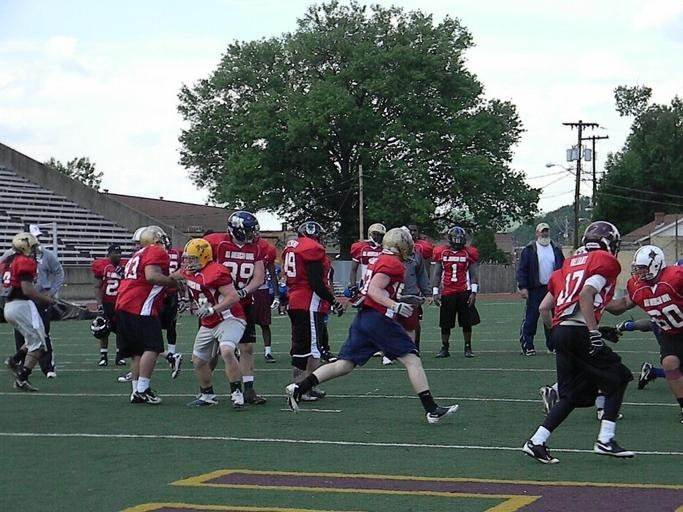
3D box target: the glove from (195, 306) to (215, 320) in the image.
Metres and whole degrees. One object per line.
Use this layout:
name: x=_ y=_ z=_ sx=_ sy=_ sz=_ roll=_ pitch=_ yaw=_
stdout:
glove: x=-1.504 y=0.643 z=10.677 sx=0.203 sy=0.165 sz=0.190 roll=-1 pitch=-3 yaw=-5

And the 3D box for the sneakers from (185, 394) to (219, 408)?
sneakers: x=-1.612 y=1.729 z=11.143 sx=0.364 sy=0.135 sz=0.121 roll=1 pitch=-1 yaw=-3

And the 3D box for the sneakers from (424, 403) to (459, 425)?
sneakers: x=1.063 y=1.653 z=9.858 sx=0.311 sy=0.206 sz=0.416 roll=-2 pitch=-3 yaw=6

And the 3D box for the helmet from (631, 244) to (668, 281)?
helmet: x=3.289 y=0.061 z=9.974 sx=0.444 sy=0.348 sz=0.302 roll=-3 pitch=8 yaw=-5

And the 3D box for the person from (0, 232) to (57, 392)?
person: x=-4.217 y=0.744 z=12.768 sx=0.603 sy=2.121 sz=0.918 roll=0 pitch=-4 yaw=-19

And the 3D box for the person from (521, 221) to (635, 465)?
person: x=2.171 y=0.754 z=8.691 sx=0.943 sy=2.174 sz=0.936 roll=-2 pitch=-3 yaw=7

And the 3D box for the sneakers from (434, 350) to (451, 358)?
sneakers: x=1.727 y=1.655 z=15.759 sx=0.101 sy=0.109 sz=0.286 roll=-10 pitch=-13 yaw=36

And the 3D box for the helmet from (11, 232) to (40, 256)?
helmet: x=-4.245 y=-0.157 z=12.906 sx=0.381 sy=0.293 sz=0.281 roll=-4 pitch=20 yaw=-30

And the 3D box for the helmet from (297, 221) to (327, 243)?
helmet: x=-0.357 y=-0.308 z=12.102 sx=0.317 sy=0.244 sz=0.247 roll=-3 pitch=11 yaw=-35

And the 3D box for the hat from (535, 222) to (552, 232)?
hat: x=3.392 y=-0.480 z=15.773 sx=0.184 sy=0.119 sz=0.241 roll=2 pitch=-8 yaw=-7

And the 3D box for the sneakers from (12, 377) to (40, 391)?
sneakers: x=-4.150 y=1.708 z=12.490 sx=0.419 sy=0.160 sz=0.134 roll=9 pitch=0 yaw=4

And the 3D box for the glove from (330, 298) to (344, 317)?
glove: x=-0.026 y=0.633 z=11.367 sx=0.144 sy=0.224 sz=0.148 roll=-32 pitch=-6 yaw=1

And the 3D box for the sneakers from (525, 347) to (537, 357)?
sneakers: x=3.193 y=1.626 z=15.818 sx=0.137 sy=0.147 sz=0.341 roll=1 pitch=-5 yaw=2

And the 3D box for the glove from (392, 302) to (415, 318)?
glove: x=0.671 y=0.549 z=9.680 sx=0.098 sy=0.143 sz=0.201 roll=-28 pitch=30 yaw=-35

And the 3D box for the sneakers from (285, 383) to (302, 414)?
sneakers: x=-0.504 y=1.564 z=10.225 sx=0.179 sy=0.330 sz=0.135 roll=-5 pitch=4 yaw=-5

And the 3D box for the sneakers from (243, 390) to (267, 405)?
sneakers: x=-1.013 y=1.694 z=11.242 sx=0.315 sy=0.129 sz=0.111 roll=3 pitch=6 yaw=11

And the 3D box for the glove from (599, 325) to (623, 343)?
glove: x=2.745 y=0.790 z=9.504 sx=0.207 sy=0.217 sz=0.777 roll=-2 pitch=-4 yaw=19

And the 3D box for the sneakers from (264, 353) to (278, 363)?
sneakers: x=-1.147 y=1.701 z=15.571 sx=0.116 sy=0.117 sz=0.295 roll=0 pitch=-8 yaw=-21

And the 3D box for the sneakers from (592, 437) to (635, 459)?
sneakers: x=2.378 y=1.706 z=8.336 sx=0.407 sy=0.162 sz=0.140 roll=3 pitch=-4 yaw=4

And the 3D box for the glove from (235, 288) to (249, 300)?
glove: x=-1.143 y=0.457 z=11.166 sx=0.107 sy=0.127 sz=0.055 roll=-6 pitch=7 yaw=1

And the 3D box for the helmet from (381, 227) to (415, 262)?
helmet: x=0.615 y=-0.136 z=10.377 sx=0.408 sy=0.348 sz=0.271 roll=-3 pitch=9 yaw=-14

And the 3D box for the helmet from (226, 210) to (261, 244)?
helmet: x=-1.167 y=-0.330 z=11.349 sx=0.370 sy=0.422 sz=0.331 roll=-2 pitch=-3 yaw=2

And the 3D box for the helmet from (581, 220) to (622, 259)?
helmet: x=2.423 y=-0.166 z=8.849 sx=0.306 sy=0.302 sz=0.373 roll=7 pitch=4 yaw=33

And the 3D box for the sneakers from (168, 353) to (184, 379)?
sneakers: x=-2.265 y=1.537 z=13.046 sx=0.249 sy=0.439 sz=0.155 roll=3 pitch=26 yaw=5

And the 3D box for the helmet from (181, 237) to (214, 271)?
helmet: x=-1.618 y=-0.020 z=10.847 sx=0.329 sy=0.385 sz=0.358 roll=-1 pitch=-3 yaw=-8

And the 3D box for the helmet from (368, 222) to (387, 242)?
helmet: x=0.568 y=-0.338 z=14.226 sx=0.261 sy=0.267 sz=0.295 roll=7 pitch=-3 yaw=-33

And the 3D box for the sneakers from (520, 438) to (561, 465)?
sneakers: x=1.774 y=1.729 z=8.354 sx=0.343 sy=0.212 sz=0.282 roll=-1 pitch=-3 yaw=-6

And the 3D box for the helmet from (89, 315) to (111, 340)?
helmet: x=-3.737 y=1.122 z=14.835 sx=0.290 sy=0.377 sz=0.584 roll=-1 pitch=-3 yaw=-14

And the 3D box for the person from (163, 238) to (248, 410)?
person: x=-1.453 y=0.775 z=10.952 sx=0.713 sy=1.969 sz=0.852 roll=-1 pitch=-3 yaw=-9

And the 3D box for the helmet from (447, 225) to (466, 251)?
helmet: x=1.950 y=-0.291 z=16.132 sx=0.335 sy=0.360 sz=0.387 roll=1 pitch=0 yaw=-19

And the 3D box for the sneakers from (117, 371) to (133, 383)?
sneakers: x=-3.080 y=1.742 z=13.462 sx=0.154 sy=0.150 sz=0.406 roll=12 pitch=-6 yaw=-40

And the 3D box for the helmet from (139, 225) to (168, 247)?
helmet: x=-2.302 y=-0.247 z=11.773 sx=0.305 sy=0.233 sz=0.222 roll=-12 pitch=14 yaw=-31

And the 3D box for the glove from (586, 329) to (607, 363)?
glove: x=2.286 y=0.775 z=8.392 sx=0.138 sy=0.245 sz=0.122 roll=-2 pitch=-3 yaw=1

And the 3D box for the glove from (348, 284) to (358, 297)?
glove: x=0.148 y=0.417 z=11.087 sx=0.112 sy=0.123 sz=0.138 roll=0 pitch=-10 yaw=8

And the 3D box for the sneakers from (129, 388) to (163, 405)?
sneakers: x=-2.283 y=1.683 z=11.193 sx=0.438 sy=0.171 sz=0.151 roll=2 pitch=5 yaw=-3
